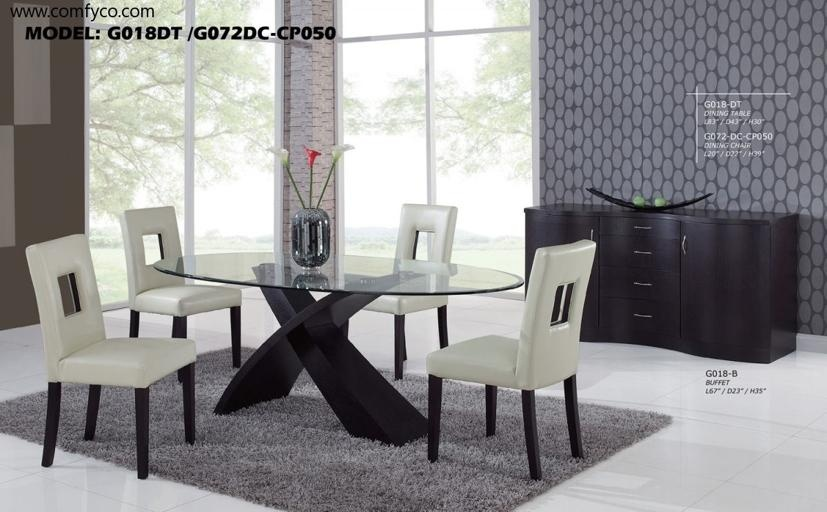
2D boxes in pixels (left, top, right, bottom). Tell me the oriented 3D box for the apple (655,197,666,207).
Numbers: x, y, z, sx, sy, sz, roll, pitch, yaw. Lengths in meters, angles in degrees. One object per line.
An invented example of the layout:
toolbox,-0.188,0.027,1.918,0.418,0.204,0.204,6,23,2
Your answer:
apple,2.208,-0.492,5.576,0.087,0.062,0.076,-7,10,-17

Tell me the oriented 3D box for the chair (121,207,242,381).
chair,-1.878,0.252,5.049,0.806,1.189,0.743,9,10,35

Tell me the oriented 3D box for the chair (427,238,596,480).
chair,0.542,0.543,3.532,0.885,1.246,0.545,3,11,16

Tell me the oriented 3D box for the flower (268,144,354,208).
flower,-0.885,-0.634,5.469,0.700,0.716,0.594,0,13,-5

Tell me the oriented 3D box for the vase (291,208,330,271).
vase,-0.704,-0.120,4.280,0.294,0.394,0.289,0,3,3

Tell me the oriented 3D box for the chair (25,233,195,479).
chair,-1.749,0.559,3.599,0.856,1.189,0.725,4,6,-8
